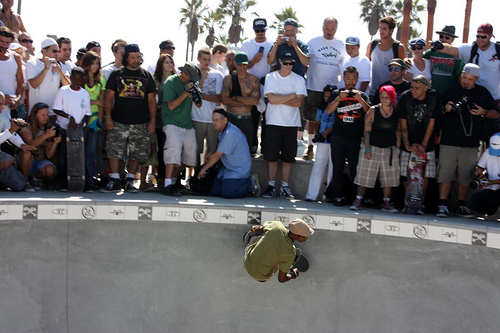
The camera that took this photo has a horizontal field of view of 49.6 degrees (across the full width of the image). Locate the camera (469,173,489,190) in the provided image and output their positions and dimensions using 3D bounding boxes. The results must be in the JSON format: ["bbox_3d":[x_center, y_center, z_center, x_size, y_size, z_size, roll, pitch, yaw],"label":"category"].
[{"bbox_3d":[4.387,0.270,10.380,0.388,0.290,0.230,-2,7,-30],"label":"camera"}]

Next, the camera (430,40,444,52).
[{"bbox_3d":[3.850,-2.480,11.122,0.245,0.233,0.314,2,6,12],"label":"camera"}]

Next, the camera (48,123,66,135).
[{"bbox_3d":[-3.752,-0.708,10.490,0.327,0.201,0.138,33,-38,0],"label":"camera"}]

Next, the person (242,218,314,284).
[{"bbox_3d":[0.494,1.486,9.837,1.196,1.175,0.879,1,6,-3],"label":"person"}]

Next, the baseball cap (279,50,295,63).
[{"bbox_3d":[0.737,-2.206,10.843,0.243,0.185,0.324,1,14,-10],"label":"baseball cap"}]

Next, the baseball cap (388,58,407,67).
[{"bbox_3d":[2.913,-2.054,10.731,0.309,0.184,0.276,2,6,15],"label":"baseball cap"}]

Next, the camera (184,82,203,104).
[{"bbox_3d":[-1.100,-1.447,10.726,0.334,0.435,0.173,-6,0,1],"label":"camera"}]

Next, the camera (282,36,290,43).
[{"bbox_3d":[0.750,-2.620,11.179,0.093,0.125,0.060,0,11,5],"label":"camera"}]

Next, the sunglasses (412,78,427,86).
[{"bbox_3d":[3.223,-1.598,10.287,0.271,0.118,0.138,3,6,16],"label":"sunglasses"}]

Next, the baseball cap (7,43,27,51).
[{"bbox_3d":[-4.640,-2.383,10.792,0.301,0.210,0.569,-1,6,-19],"label":"baseball cap"}]

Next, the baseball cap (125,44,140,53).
[{"bbox_3d":[-2.273,-2.276,10.475,0.374,0.159,0.147,5,7,35],"label":"baseball cap"}]

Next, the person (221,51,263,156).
[{"bbox_3d":[-0.156,-1.104,11.406,0.858,2.440,0.662,0,22,5],"label":"person"}]

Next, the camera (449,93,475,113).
[{"bbox_3d":[4.100,-1.205,10.420,0.354,0.340,0.129,4,9,9],"label":"camera"}]

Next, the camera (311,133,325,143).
[{"bbox_3d":[1.399,-0.576,11.028,0.244,0.163,0.397,1,5,17],"label":"camera"}]

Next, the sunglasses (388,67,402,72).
[{"bbox_3d":[2.854,-1.911,10.708,0.128,0.092,0.280,-4,8,-43],"label":"sunglasses"}]

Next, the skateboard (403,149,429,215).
[{"bbox_3d":[3.180,0.293,10.467,0.388,1.256,0.224,1,6,4],"label":"skateboard"}]

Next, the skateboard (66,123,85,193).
[{"bbox_3d":[-3.331,-0.096,10.299,0.337,1.212,0.177,0,-1,-10],"label":"skateboard"}]

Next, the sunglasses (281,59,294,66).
[{"bbox_3d":[0.747,-2.062,10.779,0.255,0.107,0.129,2,6,6],"label":"sunglasses"}]

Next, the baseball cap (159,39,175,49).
[{"bbox_3d":[-1.673,-2.514,11.152,0.211,0.161,0.503,-2,6,-29],"label":"baseball cap"}]

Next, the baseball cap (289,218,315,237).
[{"bbox_3d":[0.904,1.057,9.511,0.369,0.192,0.258,15,29,-15],"label":"baseball cap"}]

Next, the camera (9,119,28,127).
[{"bbox_3d":[-4.328,-0.802,10.172,0.153,0.058,0.132,30,-6,14],"label":"camera"}]

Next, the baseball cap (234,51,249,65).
[{"bbox_3d":[-0.184,-2.180,10.921,0.254,0.258,0.201,0,6,-9],"label":"baseball cap"}]
